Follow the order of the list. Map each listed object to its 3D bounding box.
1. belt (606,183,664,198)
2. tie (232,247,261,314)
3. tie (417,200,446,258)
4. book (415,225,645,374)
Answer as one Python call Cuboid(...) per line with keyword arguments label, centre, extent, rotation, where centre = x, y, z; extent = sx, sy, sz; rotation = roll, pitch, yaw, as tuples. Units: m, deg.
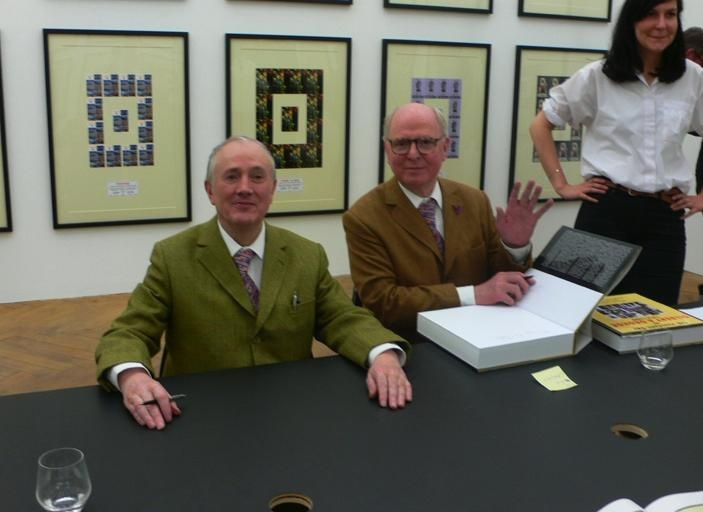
Cuboid(label="belt", centre=(1.693, -0.386, 3.361), extent=(0.292, 0.088, 0.047), rotation=(0, 16, 8))
Cuboid(label="tie", centre=(-0.461, 0.111, 2.502), extent=(0.129, 0.259, 0.075), rotation=(-21, -2, -19))
Cuboid(label="tie", centre=(0.430, -0.176, 3.079), extent=(0.096, 0.360, 0.089), rotation=(-16, -3, 8))
Cuboid(label="book", centre=(0.769, 0.182, 2.486), extent=(0.798, 0.489, 0.571), rotation=(-5, 17, -23))
